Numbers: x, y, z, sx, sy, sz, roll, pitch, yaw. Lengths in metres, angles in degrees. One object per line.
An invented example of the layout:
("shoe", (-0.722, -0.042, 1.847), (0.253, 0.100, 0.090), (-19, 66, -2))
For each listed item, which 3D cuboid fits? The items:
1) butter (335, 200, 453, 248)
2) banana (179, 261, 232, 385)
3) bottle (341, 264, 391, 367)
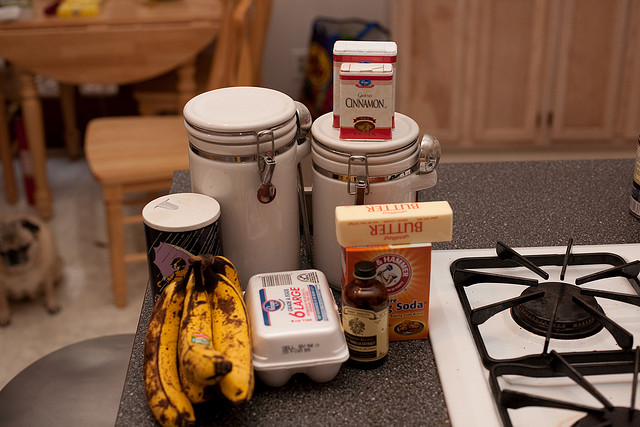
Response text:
("butter", (0.112, 0.005, 0.837), (0.174, 0.056, 0.097), (-4, 33, 0))
("banana", (-0.163, 0.163, 0.756), (0.051, 0.111, 0.172), (-3, 51, -9))
("bottle", (0.072, 0.164, 0.803), (0.072, 0.149, 0.056), (-1, 32, 6))
